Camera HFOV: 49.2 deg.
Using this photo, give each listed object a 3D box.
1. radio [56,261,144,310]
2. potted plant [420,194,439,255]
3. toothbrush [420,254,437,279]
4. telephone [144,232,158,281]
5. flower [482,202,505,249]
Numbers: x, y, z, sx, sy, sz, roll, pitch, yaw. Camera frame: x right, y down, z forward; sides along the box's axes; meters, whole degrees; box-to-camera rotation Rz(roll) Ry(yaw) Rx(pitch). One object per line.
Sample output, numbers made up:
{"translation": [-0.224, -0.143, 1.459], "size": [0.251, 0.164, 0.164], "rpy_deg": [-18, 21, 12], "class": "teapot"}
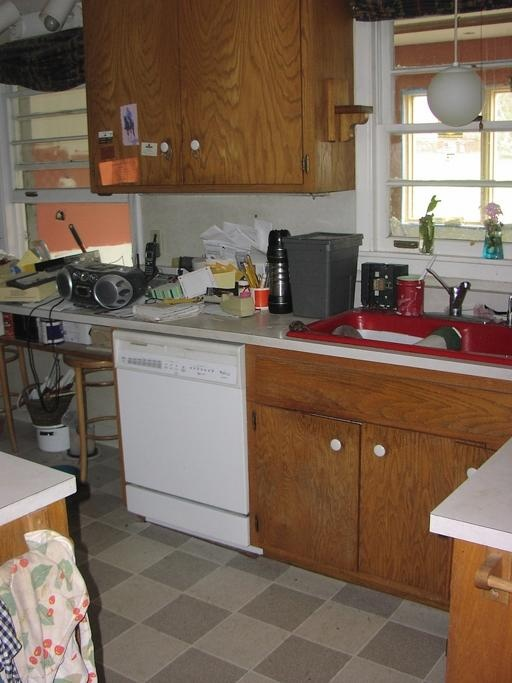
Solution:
{"translation": [-0.715, -0.255, 2.543], "size": [0.415, 0.185, 0.229], "rpy_deg": [12, 18, 25], "class": "radio"}
{"translation": [0.697, -0.476, 2.265], "size": [0.080, 0.231, 0.118], "rpy_deg": [3, 12, 23], "class": "potted plant"}
{"translation": [0.673, -0.299, 2.188], "size": [0.034, 0.042, 0.170], "rpy_deg": [-3, 32, 29], "class": "toothbrush"}
{"translation": [-0.550, -0.451, 2.929], "size": [0.083, 0.229, 0.245], "rpy_deg": [-4, 11, -9], "class": "telephone"}
{"translation": [0.895, -0.438, 2.107], "size": [0.069, 0.160, 0.203], "rpy_deg": [2, 12, 22], "class": "flower"}
